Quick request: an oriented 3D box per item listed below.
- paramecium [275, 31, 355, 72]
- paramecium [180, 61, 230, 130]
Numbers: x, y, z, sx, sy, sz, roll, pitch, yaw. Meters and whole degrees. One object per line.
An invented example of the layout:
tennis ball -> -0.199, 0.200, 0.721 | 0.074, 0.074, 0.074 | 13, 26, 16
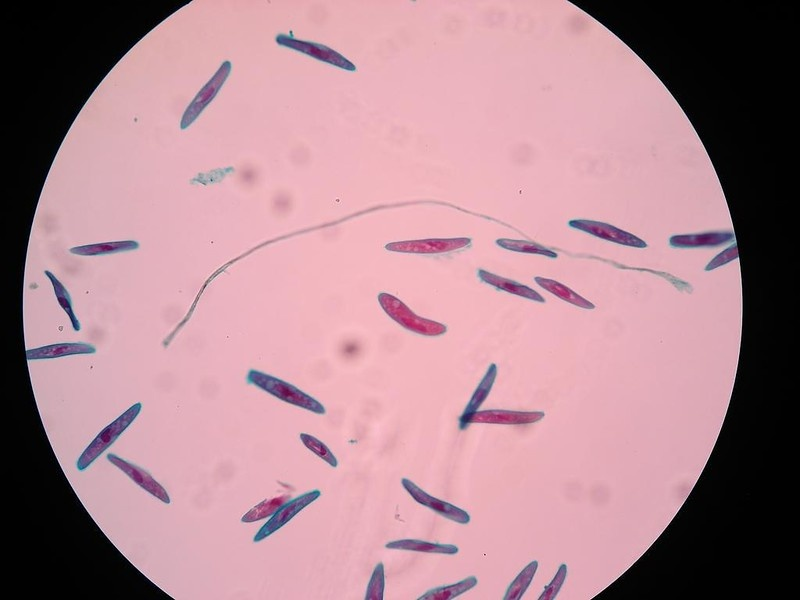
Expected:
paramecium -> -0.352, -1.018, 3.575 | 0.344, 0.079, 0.028 | 22, 6, 0
paramecium -> -0.854, -0.855, 3.618 | 0.148, 0.214, 0.312 | 17, 28, 25
